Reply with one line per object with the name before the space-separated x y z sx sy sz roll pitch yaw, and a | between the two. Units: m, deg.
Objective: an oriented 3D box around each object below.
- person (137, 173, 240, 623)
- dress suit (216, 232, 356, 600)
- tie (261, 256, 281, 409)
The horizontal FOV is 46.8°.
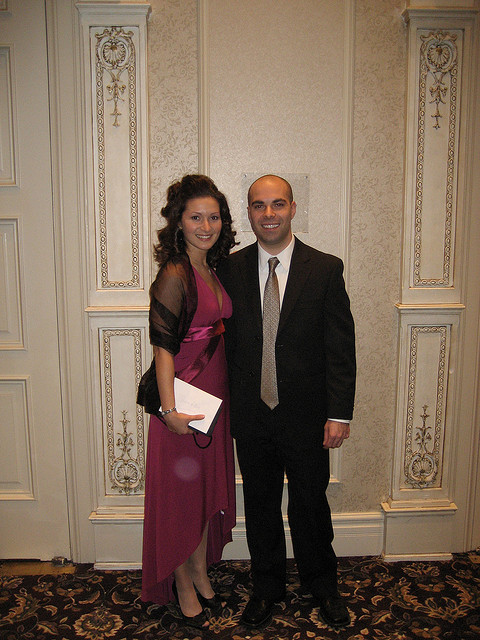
person | -0.196 0.317 2.053 0.373 1.663 0.420 -1 8 -1
dress suit | 0.176 0.563 2.231 0.689 1.773 0.361 0 5 -1
tie | 0.110 0.046 1.993 0.065 0.532 0.128 0 8 3
